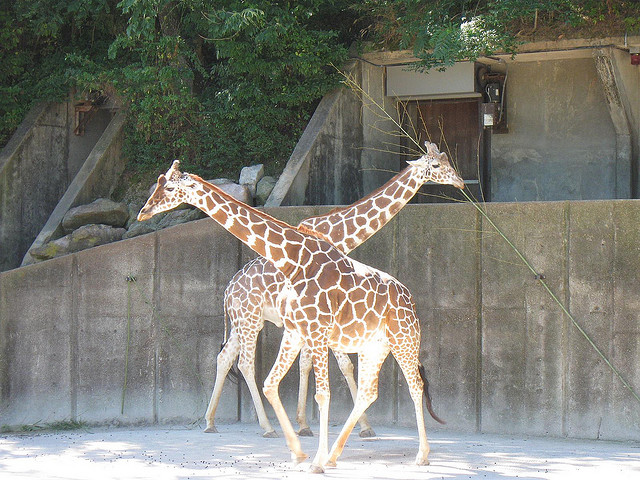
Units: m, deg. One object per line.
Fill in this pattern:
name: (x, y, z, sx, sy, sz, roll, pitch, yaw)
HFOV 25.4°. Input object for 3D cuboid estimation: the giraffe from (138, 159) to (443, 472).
giraffe: (-0.161, 1.118, 18.148, 3.717, 2.948, 1.375, 13, 25, 9)
